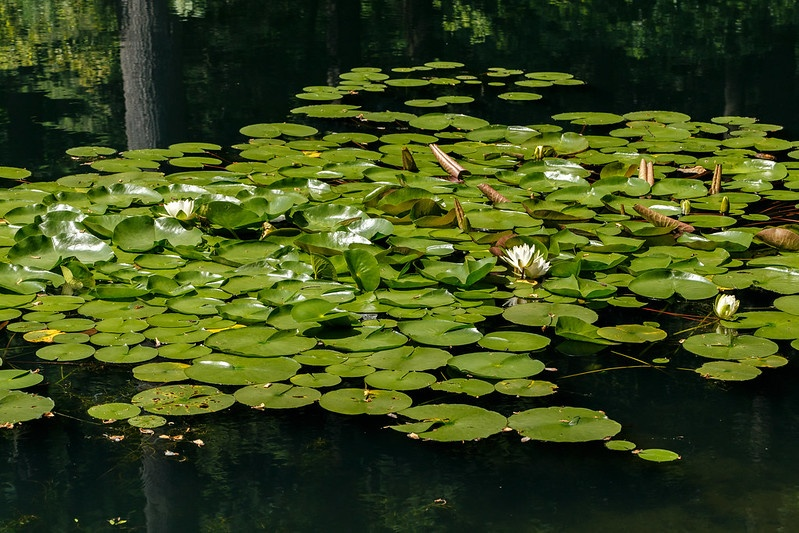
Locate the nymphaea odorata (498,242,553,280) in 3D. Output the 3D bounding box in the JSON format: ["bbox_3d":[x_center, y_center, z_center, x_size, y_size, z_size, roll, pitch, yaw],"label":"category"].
[{"bbox_3d":[0.675,-0.031,4.683,0.271,0.198,0.126,-3,18,3],"label":"nymphaea odorata"}]

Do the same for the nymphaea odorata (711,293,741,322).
[{"bbox_3d":[1.677,0.196,4.467,0.131,0.136,0.209,0,13,17],"label":"nymphaea odorata"}]
